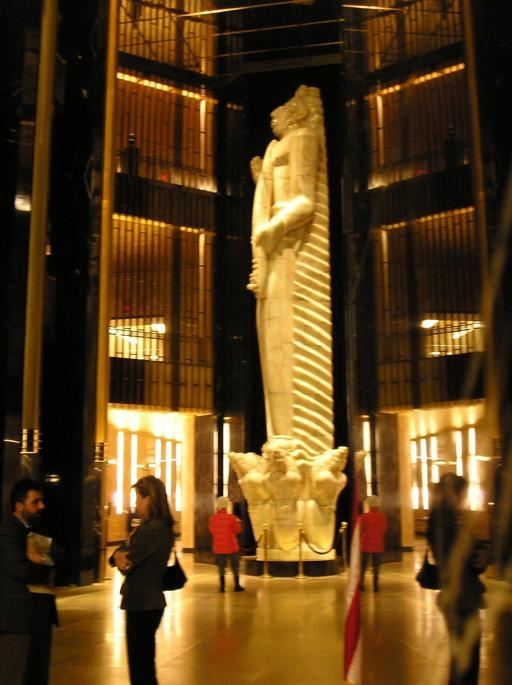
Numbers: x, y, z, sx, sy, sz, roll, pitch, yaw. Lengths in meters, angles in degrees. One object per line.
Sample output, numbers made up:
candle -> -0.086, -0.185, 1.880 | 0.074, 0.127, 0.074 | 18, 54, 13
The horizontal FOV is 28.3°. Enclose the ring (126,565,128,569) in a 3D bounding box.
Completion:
ring -> -0.665, 1.163, 5.242 | 0.015, 0.025, 0.013 | 0, 0, 15

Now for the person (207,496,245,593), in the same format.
person -> -0.316, 2.118, 10.725 | 0.345, 0.943, 1.003 | -1, -7, -2

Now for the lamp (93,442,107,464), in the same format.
lamp -> -1.582, 1.126, 10.372 | 0.073, 0.213, 0.189 | -4, -8, 24

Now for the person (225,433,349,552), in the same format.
person -> 0.420, 1.802, 11.817 | 1.264, 1.439, 0.574 | -1, -7, -2

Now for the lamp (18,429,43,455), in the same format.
lamp -> -1.993, 0.885, 8.991 | 0.171, 0.204, 0.180 | 5, -14, -22
